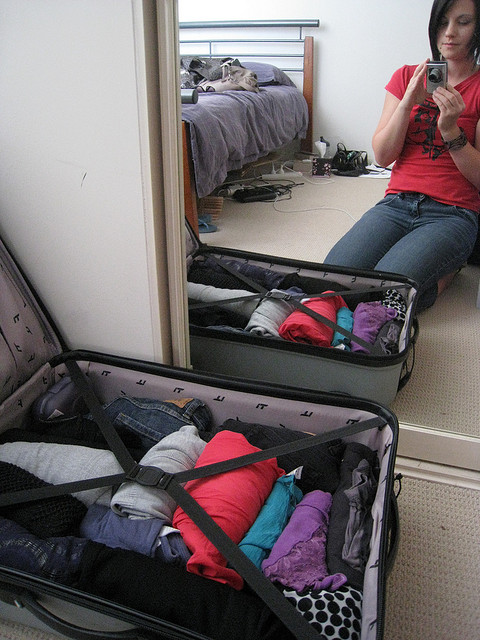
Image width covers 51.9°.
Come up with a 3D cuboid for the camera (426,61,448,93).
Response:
[{"bbox_3d":[0.513,-0.632,1.280,0.086,0.074,0.046,-25,39,-32],"label":"camera"}]

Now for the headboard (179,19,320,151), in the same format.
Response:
[{"bbox_3d":[0.031,-0.773,1.644,0.219,0.386,0.571,-27,40,-34],"label":"headboard"}]
